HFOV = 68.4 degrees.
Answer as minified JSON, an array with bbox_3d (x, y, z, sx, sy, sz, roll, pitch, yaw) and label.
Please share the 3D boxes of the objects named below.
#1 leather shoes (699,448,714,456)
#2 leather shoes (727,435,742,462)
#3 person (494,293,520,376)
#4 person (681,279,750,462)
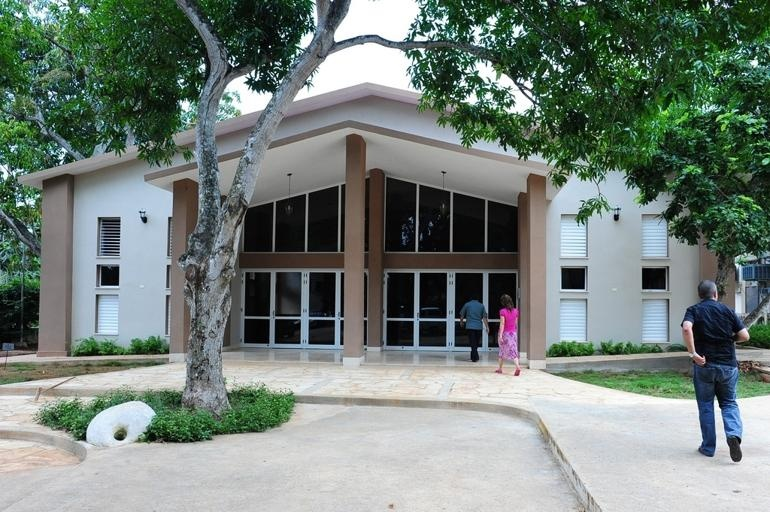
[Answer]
[{"bbox_3d":[4.669,2.856,8.261,0.191,0.110,0.126,-5,-10,29],"label":"leather shoes"},{"bbox_3d":[4.900,2.719,8.020,0.172,0.373,0.183,-18,-18,35],"label":"leather shoes"},{"bbox_3d":[3.230,2.119,15.115,0.620,2.077,1.067,-2,-8,11],"label":"person"},{"bbox_3d":[4.882,1.628,8.328,0.772,2.618,0.800,-6,-10,33],"label":"person"}]
